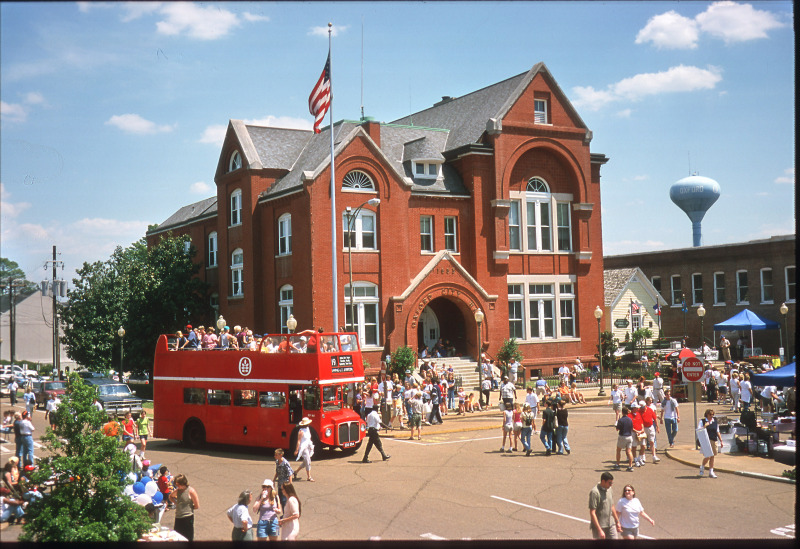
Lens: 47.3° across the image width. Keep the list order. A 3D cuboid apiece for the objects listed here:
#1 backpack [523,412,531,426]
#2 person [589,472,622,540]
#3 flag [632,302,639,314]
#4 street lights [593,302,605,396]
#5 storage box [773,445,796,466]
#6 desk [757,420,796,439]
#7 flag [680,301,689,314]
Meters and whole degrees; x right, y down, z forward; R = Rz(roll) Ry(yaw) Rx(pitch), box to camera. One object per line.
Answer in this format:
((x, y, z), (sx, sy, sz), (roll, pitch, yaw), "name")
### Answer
((5.651, 6.303, 40.141), (0.394, 0.535, 0.197), (1, -7, -7), "backpack")
((6.512, 7.377, 29.132), (1.038, 1.998, 1.111), (-1, -3, 8), "person")
((18.955, 2.709, 73.348), (0.841, 0.837, 0.086), (-13, 1, -35), "flag")
((12.554, 4.716, 57.224), (0.842, 5.528, 0.813), (-4, -4, 10), "street lights")
((15.829, 7.371, 37.318), (0.671, 0.728, 1.329), (-1, -7, 3), "storage box")
((16.657, 6.614, 39.350), (1.355, 0.661, 1.362), (-3, 2, -32), "desk")
((23.260, 2.719, 74.257), (0.452, 0.344, 1.939), (-26, -18, 7), "flag")
